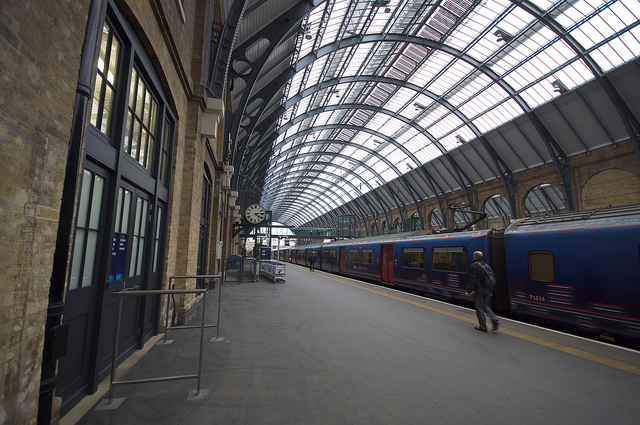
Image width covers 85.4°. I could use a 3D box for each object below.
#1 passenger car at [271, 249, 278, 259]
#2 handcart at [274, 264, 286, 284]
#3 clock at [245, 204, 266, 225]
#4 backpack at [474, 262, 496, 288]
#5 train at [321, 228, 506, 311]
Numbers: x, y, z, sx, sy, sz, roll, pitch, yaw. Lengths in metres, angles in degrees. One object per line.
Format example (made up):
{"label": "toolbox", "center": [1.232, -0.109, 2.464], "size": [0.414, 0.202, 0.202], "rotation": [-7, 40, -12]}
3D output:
{"label": "passenger car", "center": [-9.381, 8.382, 70.685], "size": [0.587, 1.731, 4.415], "rotation": [0, 3, -16]}
{"label": "handcart", "center": [-2.147, 3.199, 18.144], "size": [0.515, 0.962, 0.813], "rotation": [1, 3, -8]}
{"label": "clock", "center": [-4.041, 0.173, 21.502], "size": [1.329, 1.343, 0.101], "rotation": [30, -26, -9]}
{"label": "backpack", "center": [3.940, 1.510, 8.379], "size": [0.452, 0.572, 0.251], "rotation": [1, 3, 2]}
{"label": "train", "center": [3.746, 2.418, 18.649], "size": [1.849, 2.629, 15.910], "rotation": [-11, -3, -18]}
